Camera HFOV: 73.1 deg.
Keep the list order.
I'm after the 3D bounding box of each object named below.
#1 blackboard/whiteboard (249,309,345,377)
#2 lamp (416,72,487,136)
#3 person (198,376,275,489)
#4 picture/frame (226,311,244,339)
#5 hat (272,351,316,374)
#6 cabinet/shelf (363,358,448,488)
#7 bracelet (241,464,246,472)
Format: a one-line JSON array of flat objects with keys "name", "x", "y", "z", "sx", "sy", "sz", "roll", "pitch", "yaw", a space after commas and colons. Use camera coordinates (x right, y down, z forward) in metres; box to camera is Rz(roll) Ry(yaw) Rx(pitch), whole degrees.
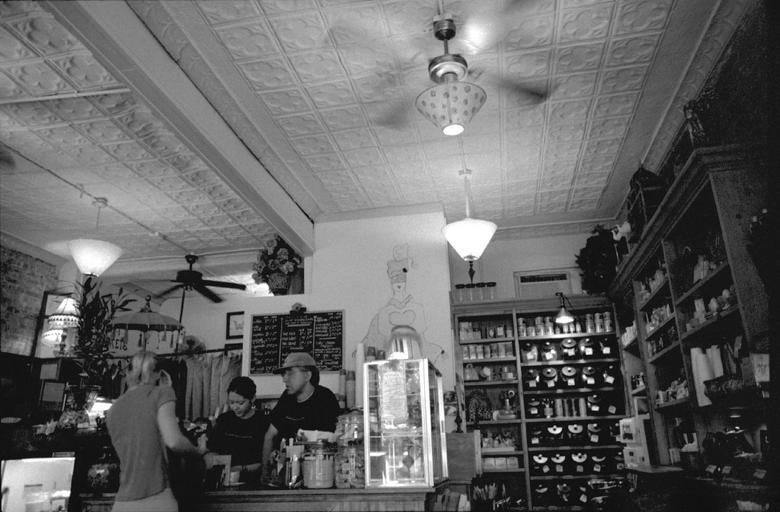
[{"name": "blackboard/whiteboard", "x": -1.298, "y": 1.252, "z": 7.506, "sx": 1.082, "sy": 0.651, "sz": 0.051, "roll": -2, "pitch": -22, "yaw": 6}, {"name": "lamp", "x": 0.604, "y": -1.528, "z": 5.408, "sx": 0.676, "sy": 0.480, "sz": 0.649, "roll": -6, "pitch": -19, "yaw": 14}, {"name": "person", "x": -1.791, "y": 2.028, "z": 5.912, "sx": 0.679, "sy": 0.893, "sz": 1.170, "roll": 0, "pitch": 6, "yaw": -5}, {"name": "picture/frame", "x": -2.853, "y": 1.247, "z": 9.501, "sx": 0.326, "sy": 0.451, "sz": 0.235, "roll": -1, "pitch": -22, "yaw": 3}, {"name": "hat", "x": -1.125, "y": 1.262, "z": 6.315, "sx": 0.583, "sy": 0.247, "sz": 0.392, "roll": 7, "pitch": -23, "yaw": -14}, {"name": "cabinet/shelf", "x": 0.126, "y": 1.635, "z": 5.197, "sx": 0.774, "sy": 1.145, "sz": 0.776, "roll": 0, "pitch": -22, "yaw": 2}, {"name": "bracelet", "x": -1.561, "y": 2.224, "z": 5.563, "sx": 0.036, "sy": 0.048, "sz": 0.307, "roll": 5, "pitch": -21, "yaw": -12}]
